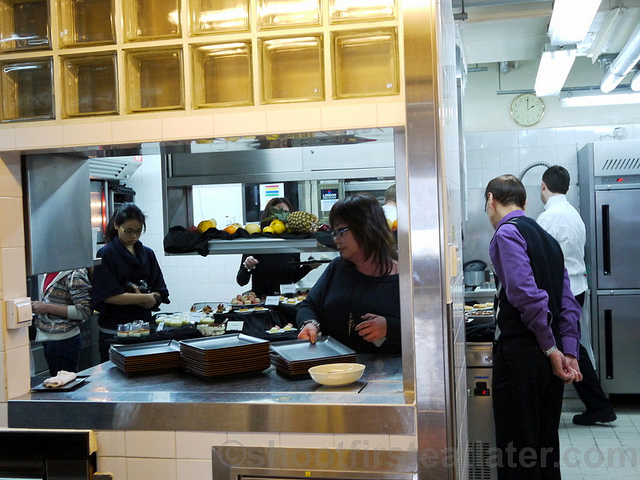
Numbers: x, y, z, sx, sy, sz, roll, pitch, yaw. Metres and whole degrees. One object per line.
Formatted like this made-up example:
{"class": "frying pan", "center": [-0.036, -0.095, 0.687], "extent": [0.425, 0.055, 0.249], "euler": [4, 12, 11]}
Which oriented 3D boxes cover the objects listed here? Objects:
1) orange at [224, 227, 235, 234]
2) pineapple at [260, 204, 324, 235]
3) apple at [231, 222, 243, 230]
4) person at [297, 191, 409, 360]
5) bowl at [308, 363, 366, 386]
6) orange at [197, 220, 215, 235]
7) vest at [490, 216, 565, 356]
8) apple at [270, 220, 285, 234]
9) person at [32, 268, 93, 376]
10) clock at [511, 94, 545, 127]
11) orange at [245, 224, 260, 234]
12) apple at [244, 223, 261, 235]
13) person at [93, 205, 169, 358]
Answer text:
{"class": "orange", "center": [-0.598, -0.060, 3.774], "extent": [0.059, 0.047, 0.048], "euler": [5, 4, 5]}
{"class": "pineapple", "center": [-0.194, -0.113, 3.753], "extent": [0.361, 0.144, 0.148], "euler": [18, 41, 2]}
{"class": "apple", "center": [-0.561, -0.098, 3.920], "extent": [0.062, 0.036, 0.112], "euler": [0, 8, -3]}
{"class": "person", "center": [0.141, 0.191, 3.031], "extent": [0.539, 0.799, 1.147], "euler": [0, 12, 2]}
{"class": "bowl", "center": [0.064, 0.575, 2.451], "extent": [0.226, 0.085, 0.136], "euler": [-1, 12, -3]}
{"class": "orange", "center": [-0.760, -0.079, 3.837], "extent": [0.119, 0.075, 0.118], "euler": [-4, 13, -19]}
{"class": "vest", "center": [1.289, 0.312, 3.564], "extent": [0.476, 0.873, 0.469], "euler": [-1, 12, -2]}
{"class": "apple", "center": [-0.280, -0.079, 3.757], "extent": [0.085, 0.075, 0.063], "euler": [-1, 12, -5]}
{"class": "person", "center": [-1.856, 0.597, 4.178], "extent": [0.387, 0.781, 0.446], "euler": [-6, 14, -26]}
{"class": "clock", "center": [2.319, -1.445, 6.430], "extent": [0.378, 0.362, 0.050], "euler": [-2, 4, 14]}
{"class": "orange", "center": [-0.441, -0.069, 3.748], "extent": [0.061, 0.044, 0.063], "euler": [0, 4, 3]}
{"class": "apple", "center": [-0.445, -0.073, 3.755], "extent": [0.072, 0.070, 0.072], "euler": [-12, 13, -30]}
{"class": "person", "center": [-1.315, 0.295, 3.991], "extent": [0.487, 1.033, 0.944], "euler": [-4, 13, -16]}
